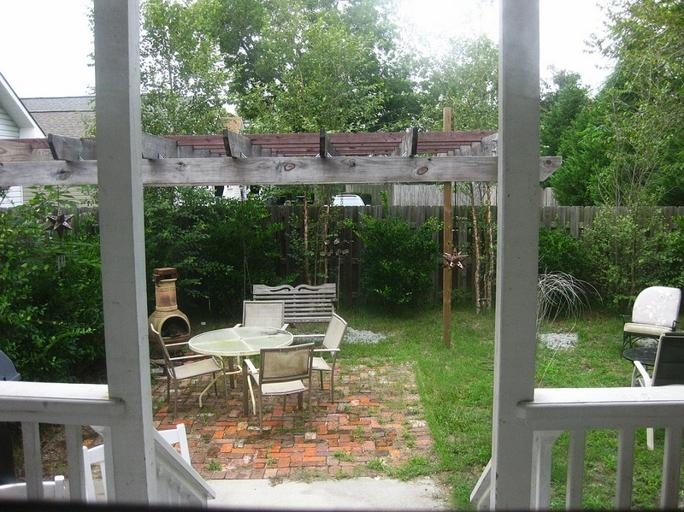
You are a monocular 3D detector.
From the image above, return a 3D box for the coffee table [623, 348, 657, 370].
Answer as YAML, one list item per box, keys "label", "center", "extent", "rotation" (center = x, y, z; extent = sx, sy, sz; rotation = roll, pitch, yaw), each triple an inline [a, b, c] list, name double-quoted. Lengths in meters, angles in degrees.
- label: "coffee table"
  center: [3.692, 1.232, 8.471]
  extent: [0.324, 0.079, 0.332]
  rotation: [-3, 9, 8]
